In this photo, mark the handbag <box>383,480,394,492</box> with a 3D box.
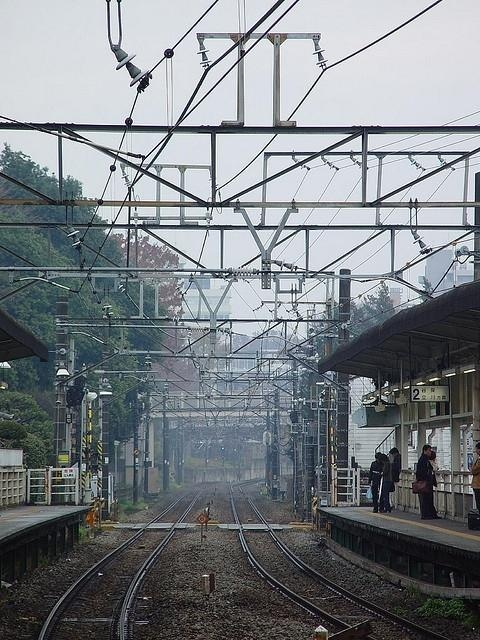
[{"bbox_3d":[3.790,4.255,25.606,0.258,0.406,0.303,1,-6,-7],"label":"handbag"}]

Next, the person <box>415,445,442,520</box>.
[{"bbox_3d":[4.057,3.570,21.931,0.420,1.581,1.600,-2,-11,11],"label":"person"}]

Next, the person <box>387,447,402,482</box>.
[{"bbox_3d":[3.958,3.742,25.677,0.250,0.842,1.488,-2,-12,10],"label":"person"}]

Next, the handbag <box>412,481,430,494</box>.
[{"bbox_3d":[3.835,3.575,21.314,0.238,0.288,0.106,-1,-7,6],"label":"handbag"}]
